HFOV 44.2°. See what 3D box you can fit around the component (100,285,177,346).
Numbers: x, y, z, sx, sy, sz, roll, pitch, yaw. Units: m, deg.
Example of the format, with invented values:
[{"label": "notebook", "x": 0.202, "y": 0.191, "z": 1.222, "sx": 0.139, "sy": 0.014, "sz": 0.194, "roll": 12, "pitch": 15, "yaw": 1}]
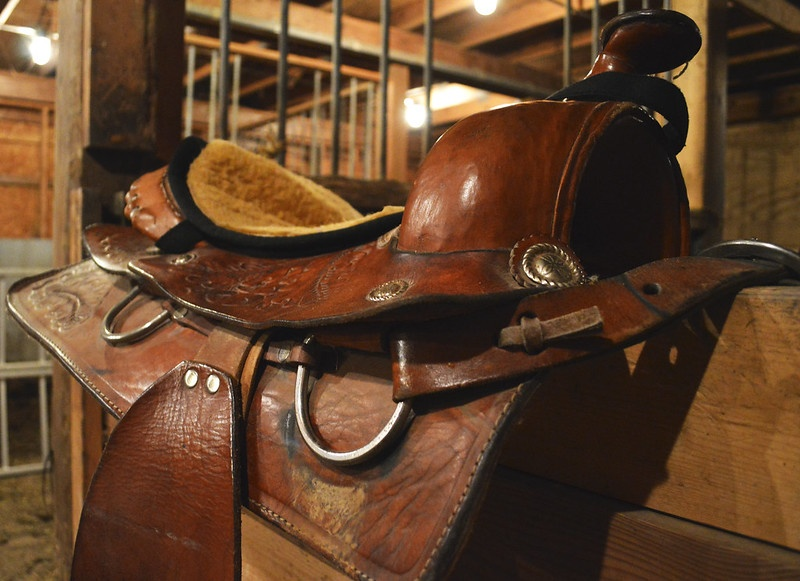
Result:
[{"label": "component", "x": -0.553, "y": 0.059, "z": 2.072, "sx": 0.111, "sy": 0.036, "sz": 0.145, "roll": 31, "pitch": 55, "yaw": 20}]
